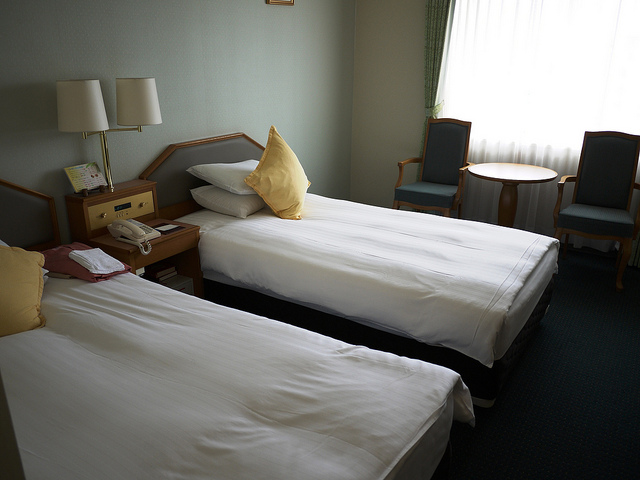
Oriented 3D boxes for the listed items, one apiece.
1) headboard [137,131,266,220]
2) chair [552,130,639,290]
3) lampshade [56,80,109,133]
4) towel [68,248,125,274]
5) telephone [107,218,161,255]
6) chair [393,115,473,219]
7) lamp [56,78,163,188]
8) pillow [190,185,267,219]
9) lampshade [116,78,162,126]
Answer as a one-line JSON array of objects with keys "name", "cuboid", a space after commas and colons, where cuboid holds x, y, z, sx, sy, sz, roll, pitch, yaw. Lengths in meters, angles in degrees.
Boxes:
[{"name": "headboard", "cuboid": [-0.889, -0.572, 3.953, 0.096, 0.586, 1.318, 6, 21, 43]}, {"name": "chair", "cuboid": [2.561, -0.332, 4.150, 0.721, 1.247, 0.965, 11, 21, 27]}, {"name": "lampshade", "cuboid": [-1.468, -0.842, 2.906, 0.287, 0.350, 0.312, 6, 23, 19]}, {"name": "towel", "cuboid": [-1.347, 0.124, 2.706, 0.293, 0.106, 0.199, 12, 22, 28]}, {"name": "telephone", "cuboid": [-1.226, -0.034, 3.012, 0.326, 0.185, 0.200, 12, 22, 27]}, {"name": "chair", "cuboid": [1.222, -0.648, 4.818, 0.725, 1.205, 0.699, 14, 24, 36]}, {"name": "lamp", "cuboid": [-1.465, -0.728, 3.074, 0.225, 0.768, 0.608, 14, 26, 32]}, {"name": "pillow", "cuboid": [-0.772, -0.320, 3.798, 0.535, 0.186, 0.463, 22, 6, 13]}, {"name": "lampshade", "cuboid": [-1.268, -0.975, 3.226, 0.291, 0.350, 0.299, -11, 23, -19]}]
